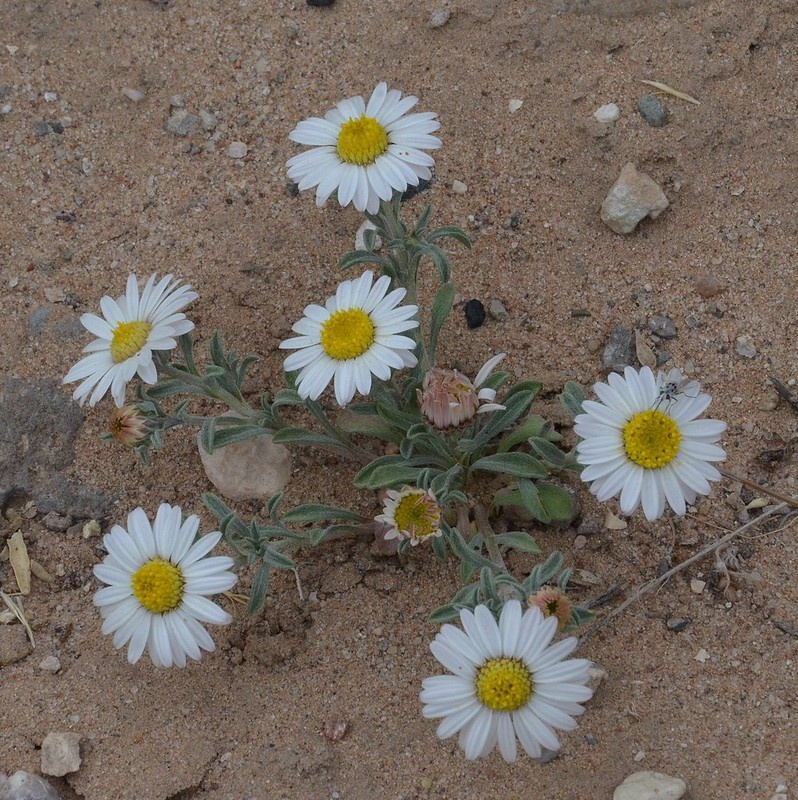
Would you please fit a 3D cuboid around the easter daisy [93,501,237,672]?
[{"bbox_3d":[-0.770,0.603,2.927,0.441,0.112,0.542,-11,54,-33],"label":"easter daisy"}]

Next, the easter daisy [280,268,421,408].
[{"bbox_3d":[-0.183,-0.198,2.924,0.421,0.521,0.150,11,74,-15],"label":"easter daisy"}]

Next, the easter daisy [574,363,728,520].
[{"bbox_3d":[0.732,0.135,2.749,0.442,0.171,0.444,15,79,8],"label":"easter daisy"}]

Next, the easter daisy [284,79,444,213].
[{"bbox_3d":[-0.130,-0.839,3.025,0.476,0.584,0.183,0,83,23],"label":"easter daisy"}]

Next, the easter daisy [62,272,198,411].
[{"bbox_3d":[-0.868,-0.201,3.052,0.426,0.121,0.472,-38,46,13],"label":"easter daisy"}]
